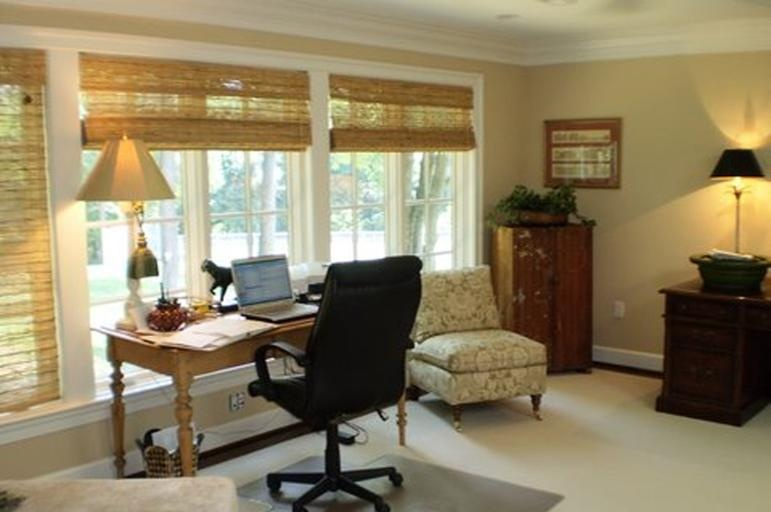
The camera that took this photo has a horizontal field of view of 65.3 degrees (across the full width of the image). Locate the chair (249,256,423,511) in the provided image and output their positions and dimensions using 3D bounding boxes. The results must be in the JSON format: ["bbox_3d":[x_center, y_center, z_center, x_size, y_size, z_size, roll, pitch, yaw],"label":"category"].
[{"bbox_3d":[-0.248,0.752,3.482,0.953,1.498,0.431,-3,9,-11],"label":"chair"}]

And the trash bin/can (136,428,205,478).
[{"bbox_3d":[-1.365,1.160,3.699,0.328,0.237,0.369,0,-8,-15],"label":"trash bin/can"}]

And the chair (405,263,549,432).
[{"bbox_3d":[0.645,0.689,4.953,1.176,1.430,1.168,-1,0,-24],"label":"chair"}]

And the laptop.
[{"bbox_3d":[-0.769,0.219,3.941,0.385,0.434,0.524,-6,-4,39],"label":"laptop"}]

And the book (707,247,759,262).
[{"bbox_3d":[2.760,-0.013,4.757,0.240,0.068,0.061,13,28,7],"label":"book"}]

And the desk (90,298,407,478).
[{"bbox_3d":[-1.069,0.555,3.786,0.934,0.943,1.961,2,4,39],"label":"desk"}]

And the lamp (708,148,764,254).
[{"bbox_3d":[2.889,-0.457,4.955,0.381,0.874,0.267,3,10,30],"label":"lamp"}]

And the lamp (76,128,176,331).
[{"bbox_3d":[-1.598,-0.155,3.705,0.508,1.185,0.519,-7,10,-33],"label":"lamp"}]

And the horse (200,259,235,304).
[{"bbox_3d":[-1.124,0.160,3.978,0.174,0.287,0.379,-5,8,-23],"label":"horse"}]

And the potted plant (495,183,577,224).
[{"bbox_3d":[1.288,-0.473,5.455,0.505,0.347,0.708,-7,9,-39],"label":"potted plant"}]
